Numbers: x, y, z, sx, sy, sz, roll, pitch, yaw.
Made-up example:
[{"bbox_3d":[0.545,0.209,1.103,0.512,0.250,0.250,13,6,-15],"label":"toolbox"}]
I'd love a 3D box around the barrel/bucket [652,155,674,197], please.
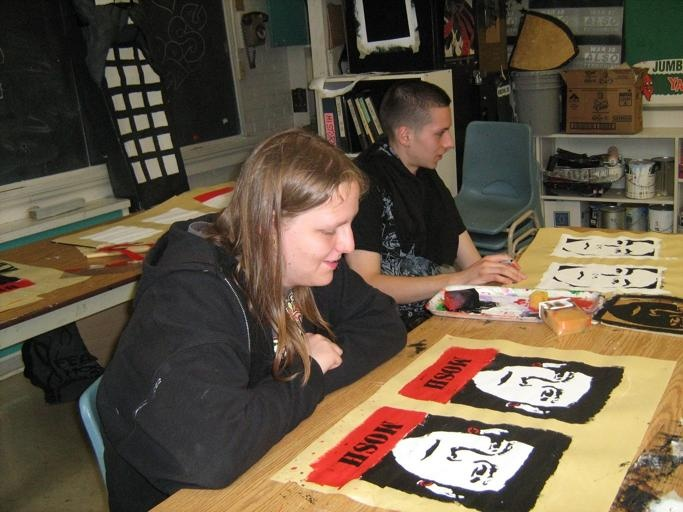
[{"bbox_3d":[2.438,-0.596,3.964,0.135,0.274,0.150,2,19,21],"label":"barrel/bucket"}]

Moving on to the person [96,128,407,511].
[{"bbox_3d":[-0.221,0.138,1.320,0.458,0.867,0.759,10,23,39],"label":"person"}]

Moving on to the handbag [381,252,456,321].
[{"bbox_3d":[0.300,0.127,2.135,0.240,0.271,0.151,6,-10,-12],"label":"handbag"}]

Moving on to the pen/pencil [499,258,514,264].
[{"bbox_3d":[0.595,0.016,1.863,0.034,0.010,0.023,0,14,-6],"label":"pen/pencil"}]

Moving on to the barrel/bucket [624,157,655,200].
[{"bbox_3d":[2.314,-0.583,4.021,0.245,0.242,0.240,-6,13,1],"label":"barrel/bucket"}]

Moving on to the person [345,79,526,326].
[{"bbox_3d":[0.382,-0.210,2.238,0.778,0.946,0.738,11,20,30],"label":"person"}]

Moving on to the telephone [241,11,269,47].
[{"bbox_3d":[-0.721,-1.904,4.400,0.314,0.266,0.216,-3,28,3],"label":"telephone"}]

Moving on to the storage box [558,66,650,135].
[{"bbox_3d":[2.111,-1.212,4.064,0.423,0.449,0.693,-25,26,-37],"label":"storage box"}]
